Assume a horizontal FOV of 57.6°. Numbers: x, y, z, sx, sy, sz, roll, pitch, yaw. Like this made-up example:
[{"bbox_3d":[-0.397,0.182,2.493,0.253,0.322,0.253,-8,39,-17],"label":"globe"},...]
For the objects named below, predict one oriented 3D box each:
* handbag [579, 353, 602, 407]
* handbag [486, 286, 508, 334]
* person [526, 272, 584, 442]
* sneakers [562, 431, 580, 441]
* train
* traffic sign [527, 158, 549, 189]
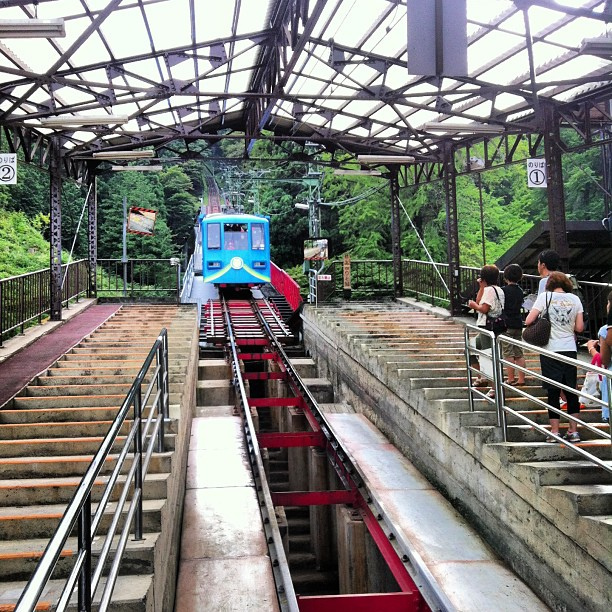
[{"bbox_3d":[2.655,0.708,5.260,0.249,0.495,0.160,5,10,-4],"label":"handbag"},{"bbox_3d":[2.207,0.059,6.434,0.218,0.533,0.156,-1,6,3],"label":"handbag"},{"bbox_3d":[2.272,0.521,5.124,0.491,1.620,0.789,2,7,21],"label":"person"},{"bbox_3d":[2.370,1.172,5.010,0.072,0.080,0.187,-3,0,2],"label":"sneakers"},{"bbox_3d":[-2.862,-2.250,22.834,2.680,2.852,1.002,-1,6,1],"label":"train"},{"bbox_3d":[5.044,-2.918,12.204,0.374,0.623,0.365,1,7,19],"label":"traffic sign"}]
